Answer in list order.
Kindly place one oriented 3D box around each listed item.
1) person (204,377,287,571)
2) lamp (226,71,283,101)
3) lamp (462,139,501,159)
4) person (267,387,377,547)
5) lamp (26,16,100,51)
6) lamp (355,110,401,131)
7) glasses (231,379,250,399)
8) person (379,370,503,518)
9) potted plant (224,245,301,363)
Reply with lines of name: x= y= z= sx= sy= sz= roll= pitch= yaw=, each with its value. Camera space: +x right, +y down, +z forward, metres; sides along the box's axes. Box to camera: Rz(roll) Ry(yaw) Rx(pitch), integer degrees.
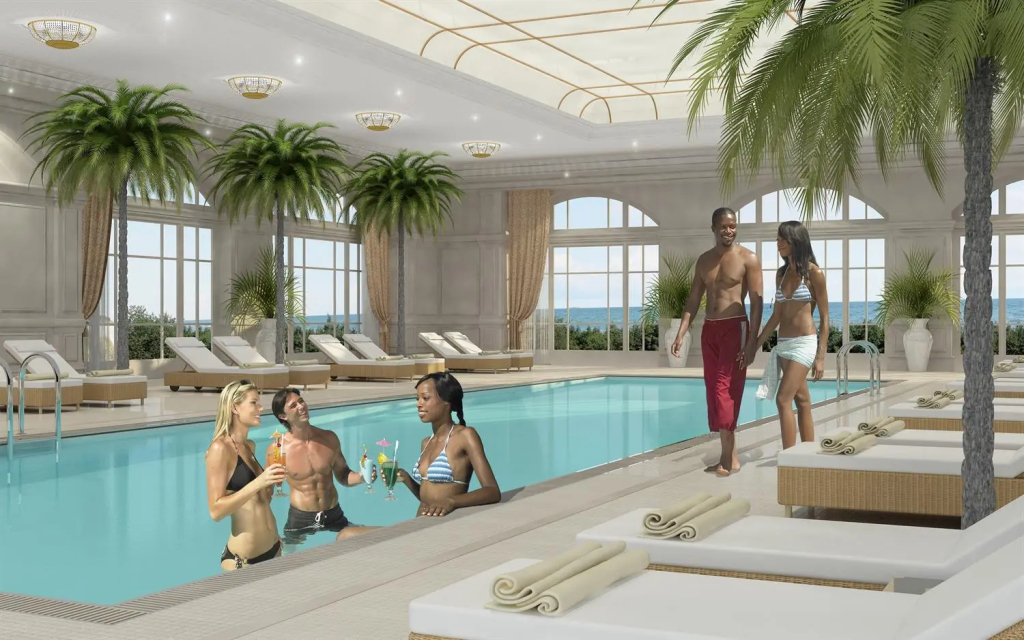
person: x=-1.305 y=0.805 z=3.473 sx=0.367 sy=0.859 sz=0.654 roll=-5 pitch=3 yaw=-25
lamp: x=-4.124 y=-3.765 z=11.298 sx=0.917 sy=0.344 sz=0.431 roll=-4 pitch=2 yaw=5
lamp: x=-0.689 y=-3.710 z=15.221 sx=0.512 sy=0.162 sz=0.514 roll=-1 pitch=1 yaw=27
person: x=-1.080 y=0.840 z=3.889 sx=0.572 sy=0.835 sz=0.492 roll=-4 pitch=6 yaw=-27
lamp: x=-5.668 y=-3.628 z=9.025 sx=0.580 sy=0.202 sz=0.576 roll=-1 pitch=-1 yaw=5
lamp: x=-2.537 y=-3.775 z=13.278 sx=0.845 sy=0.312 sz=0.544 roll=-4 pitch=2 yaw=-8
glasses: x=-1.298 y=0.338 z=3.389 sx=0.058 sy=0.071 sz=0.074 roll=6 pitch=-41 yaw=-43
person: x=-0.589 y=1.001 z=5.677 sx=0.684 sy=1.267 sz=0.977 roll=5 pitch=-9 yaw=-35
potted plant: x=-5.566 y=-0.486 z=15.528 sx=2.064 sy=2.759 sz=2.256 roll=1 pitch=-5 yaw=-19
